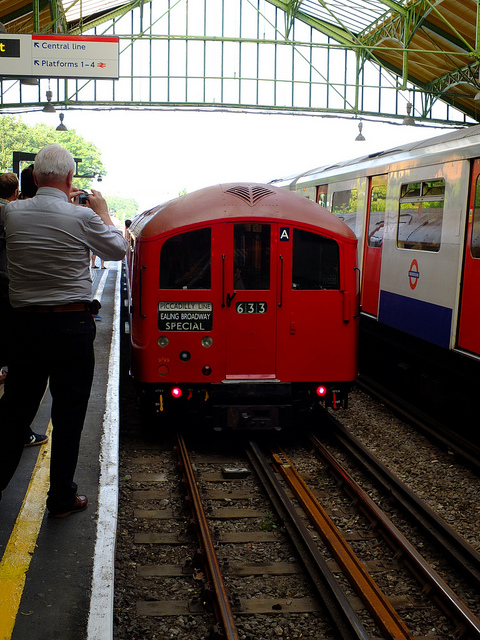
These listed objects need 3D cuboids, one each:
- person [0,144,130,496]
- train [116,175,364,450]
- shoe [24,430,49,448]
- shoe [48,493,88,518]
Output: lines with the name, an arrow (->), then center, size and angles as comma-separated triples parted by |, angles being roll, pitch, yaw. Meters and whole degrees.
person -> -0.849, 0.042, 2.305 | 0.657, 1.677, 0.267 | -7, 6, -14
train -> 0.006, -0.308, 7.735 | 2.594, 2.793, 5.452 | -1, 6, -7
shoe -> -1.562, 0.889, 3.732 | 0.174, 0.083, 0.174 | -8, 6, -23
shoe -> -0.914, 0.995, 2.603 | 0.071, 0.083, 0.206 | 2, 5, 25
